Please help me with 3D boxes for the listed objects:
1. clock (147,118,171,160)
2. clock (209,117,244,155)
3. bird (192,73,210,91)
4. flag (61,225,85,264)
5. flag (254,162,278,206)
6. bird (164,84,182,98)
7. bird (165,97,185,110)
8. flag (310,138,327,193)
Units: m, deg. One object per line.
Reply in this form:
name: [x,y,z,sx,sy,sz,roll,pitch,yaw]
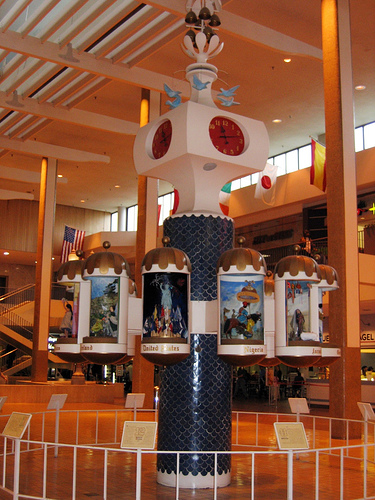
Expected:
clock: [-0.237,-0.942,3.906,0.059,0.377,0.402,4,-7,-28]
clock: [0.304,-0.930,3.720,0.346,0.312,0.038,6,-9,-37]
bird: [0.118,-1.433,3.891,0.142,0.198,0.147,1,-7,0]
flag: [-5.618,-0.231,22.566,1.177,1.798,0.642,7,-9,-40]
flag: [2.776,-2.360,16.257,0.729,1.510,1.189,0,-7,10]
bird: [-0.128,-1.333,3.819,0.093,0.095,0.159,5,4,1]
bird: [-0.114,-1.262,3.895,0.127,0.045,0.129,-29,-9,25]
flag: [4.067,-2.652,14.261,0.565,1.524,0.442,2,-7,-9]
